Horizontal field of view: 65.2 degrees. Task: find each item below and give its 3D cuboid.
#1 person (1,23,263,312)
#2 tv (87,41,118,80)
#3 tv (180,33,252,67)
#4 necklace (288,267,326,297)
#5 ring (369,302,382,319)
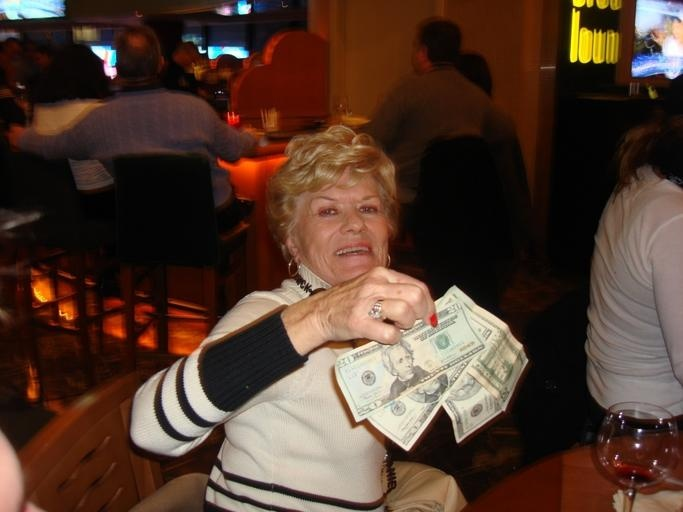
[{"bbox_3d":[-1.220,-0.558,3.187,1.505,1.027,0.892,-5,47,-22],"label":"person"},{"bbox_3d":[-1.232,-1.004,2.766,0.115,0.167,0.067,-8,20,-13],"label":"tv"},{"bbox_3d":[-0.862,-1.430,3.687,0.271,0.066,0.281,12,7,16],"label":"tv"},{"bbox_3d":[-0.092,0.086,1.493,0.088,0.023,0.073,32,10,-26],"label":"necklace"},{"bbox_3d":[0.072,0.112,1.091,0.024,0.013,0.032,2,22,2],"label":"ring"}]
